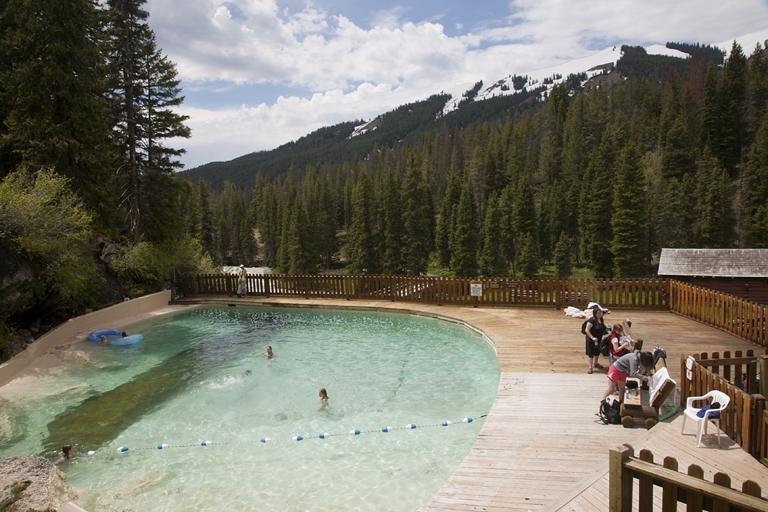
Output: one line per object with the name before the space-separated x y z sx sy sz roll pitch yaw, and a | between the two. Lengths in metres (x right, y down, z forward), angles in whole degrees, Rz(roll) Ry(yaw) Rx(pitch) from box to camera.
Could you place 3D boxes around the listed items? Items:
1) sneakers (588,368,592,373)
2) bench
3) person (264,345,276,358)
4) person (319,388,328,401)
sneakers | 9.500 5.241 27.849 0.229 0.213 0.309 0 6 19
bench | 11.259 5.810 25.987 1.755 2.077 3.694 1 6 24
person | -6.155 5.194 32.878 0.416 0.817 0.477 9 10 33
person | -2.761 6.392 28.262 0.424 0.662 0.902 -3 5 -7
